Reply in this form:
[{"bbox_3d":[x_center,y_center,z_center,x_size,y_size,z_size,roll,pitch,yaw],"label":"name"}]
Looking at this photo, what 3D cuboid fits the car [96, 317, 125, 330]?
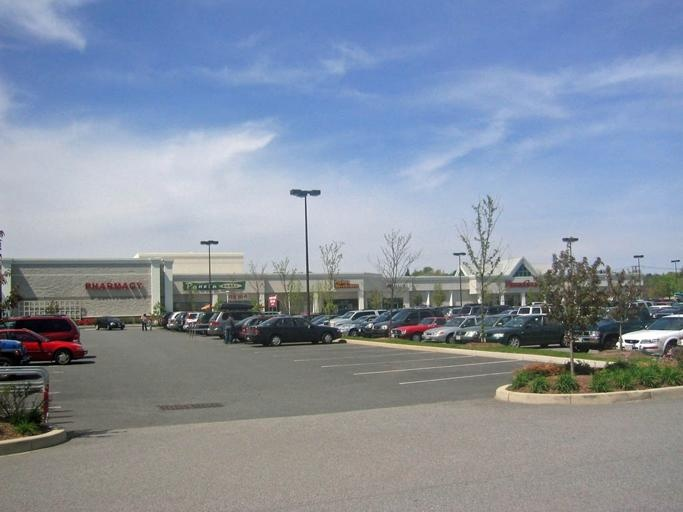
[{"bbox_3d":[-23.794,6.891,67.577,2.859,1.294,1.607,-8,-6,43],"label":"car"}]
